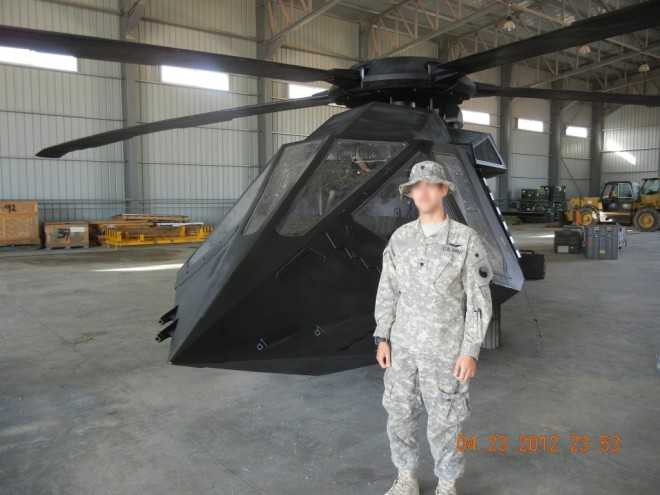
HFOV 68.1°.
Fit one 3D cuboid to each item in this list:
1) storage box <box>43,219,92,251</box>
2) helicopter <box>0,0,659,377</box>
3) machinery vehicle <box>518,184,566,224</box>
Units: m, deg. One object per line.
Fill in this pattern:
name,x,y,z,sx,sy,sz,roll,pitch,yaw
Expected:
storage box,-10.142,-0.485,18.793,1.657,1.058,1.033,1,1,-32
helicopter,0.544,-0.519,5.187,4.859,1.850,4.484,5,9,39
machinery vehicle,14.345,-2.827,33.358,2.340,2.296,1.696,6,7,44
